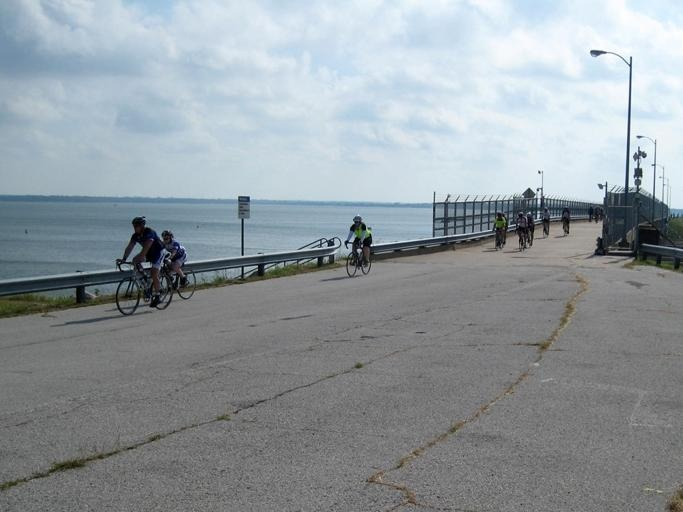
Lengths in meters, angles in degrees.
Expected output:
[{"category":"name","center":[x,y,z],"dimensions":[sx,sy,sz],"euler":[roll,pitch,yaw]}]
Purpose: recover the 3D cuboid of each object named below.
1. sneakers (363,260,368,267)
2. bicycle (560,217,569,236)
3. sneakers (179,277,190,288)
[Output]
[{"category":"sneakers","center":[0.922,0.267,21.413],"dimensions":[0.185,0.284,0.618],"euler":[2,5,11]},{"category":"bicycle","center":[18.271,-2.466,44.856],"dimensions":[0.399,1.277,1.720],"euler":[1,4,18]},{"category":"sneakers","center":[-4.431,0.726,15.620],"dimensions":[0.153,0.305,0.283],"euler":[7,14,31]}]
